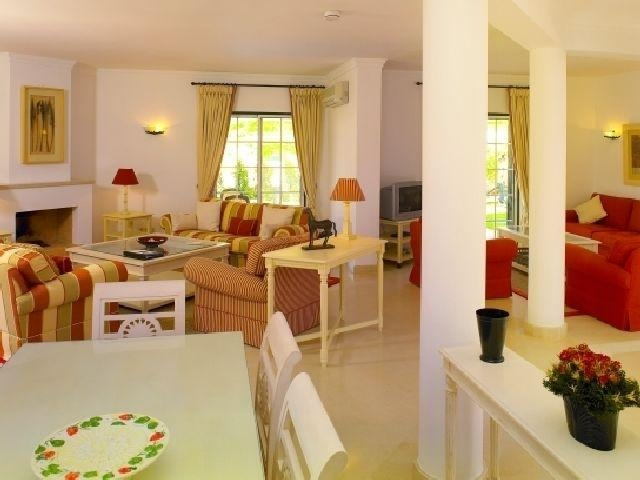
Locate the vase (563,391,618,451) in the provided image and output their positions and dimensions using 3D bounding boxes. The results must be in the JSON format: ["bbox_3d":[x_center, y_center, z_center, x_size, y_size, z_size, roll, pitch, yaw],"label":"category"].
[{"bbox_3d":[0.930,0.612,1.685,0.120,0.154,0.205,-12,8,-24],"label":"vase"}]

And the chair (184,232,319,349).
[{"bbox_3d":[-0.647,0.426,5.136,0.932,1.089,1.259,9,11,26],"label":"chair"}]

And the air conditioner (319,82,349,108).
[{"bbox_3d":[0.262,-2.404,7.934,0.250,0.360,0.656,-4,11,-17],"label":"air conditioner"}]

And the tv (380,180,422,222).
[{"bbox_3d":[1.440,-0.685,8.084,0.816,0.640,0.634,-7,12,-23],"label":"tv"}]

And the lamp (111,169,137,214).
[{"bbox_3d":[-3.365,-0.869,8.386,0.381,0.762,0.656,-5,10,-19],"label":"lamp"}]

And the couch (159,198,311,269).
[{"bbox_3d":[-1.347,-0.018,7.508,2.647,1.125,0.875,6,4,32],"label":"couch"}]

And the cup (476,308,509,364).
[{"bbox_3d":[0.780,0.433,2.196,0.139,0.218,0.146,-2,5,0],"label":"cup"}]

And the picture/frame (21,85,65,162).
[{"bbox_3d":[-4.507,-1.865,7.832,0.603,1.106,0.061,-5,14,-42],"label":"picture/frame"}]

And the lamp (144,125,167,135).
[{"bbox_3d":[-2.948,-1.940,8.540,0.372,0.164,0.119,0,10,5],"label":"lamp"}]

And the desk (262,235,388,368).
[{"bbox_3d":[0.355,0.586,5.231,0.718,1.112,1.563,-5,-1,6],"label":"desk"}]
